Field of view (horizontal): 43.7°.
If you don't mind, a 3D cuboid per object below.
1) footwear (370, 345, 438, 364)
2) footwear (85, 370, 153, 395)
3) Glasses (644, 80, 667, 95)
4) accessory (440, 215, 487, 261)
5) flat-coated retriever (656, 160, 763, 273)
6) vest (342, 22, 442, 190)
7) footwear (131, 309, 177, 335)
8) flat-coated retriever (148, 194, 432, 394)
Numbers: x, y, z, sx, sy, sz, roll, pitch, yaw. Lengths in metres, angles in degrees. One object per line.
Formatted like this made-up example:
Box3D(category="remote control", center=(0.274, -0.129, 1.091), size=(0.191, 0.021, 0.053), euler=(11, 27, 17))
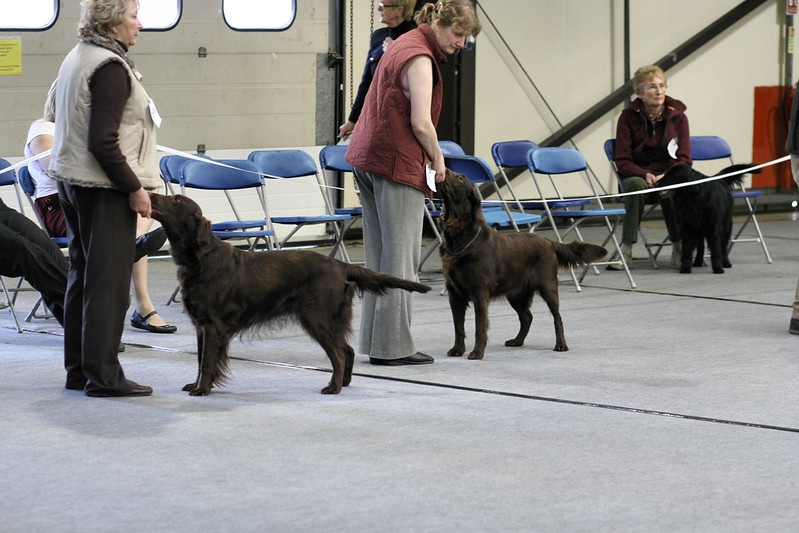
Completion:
Box3D(category="footwear", center=(0.022, 0.567, 6.376), size=(0.408, 0.130, 0.130), euler=(-3, 1, -8))
Box3D(category="footwear", center=(-1.594, 0.684, 5.774), size=(0.447, 0.165, 0.128), euler=(-1, -1, -15))
Box3D(category="Glasses", center=(2.519, -1.805, 9.854), size=(0.136, 0.072, 0.168), euler=(1, -5, 3))
Box3D(category="accessory", center=(0.402, -0.167, 6.374), size=(0.245, 0.189, 0.063), euler=(-43, -13, 5))
Box3D(category="flat-coated retriever", center=(3.238, -0.588, 10.174), size=(0.511, 1.118, 2.276), euler=(6, 19, 39))
Box3D(category="vest", center=(-0.026, -0.980, 6.126), size=(0.621, 1.048, 0.331), euler=(-1, 14, -3))
Box3D(category="footwear", center=(-1.817, 0.418, 7.300), size=(0.328, 0.121, 0.156), euler=(5, 2, 20))
Box3D(category="flat-coated retriever", center=(-0.721, 0.185, 5.896), size=(1.935, 1.056, 0.473), euler=(5, 4, -32))
